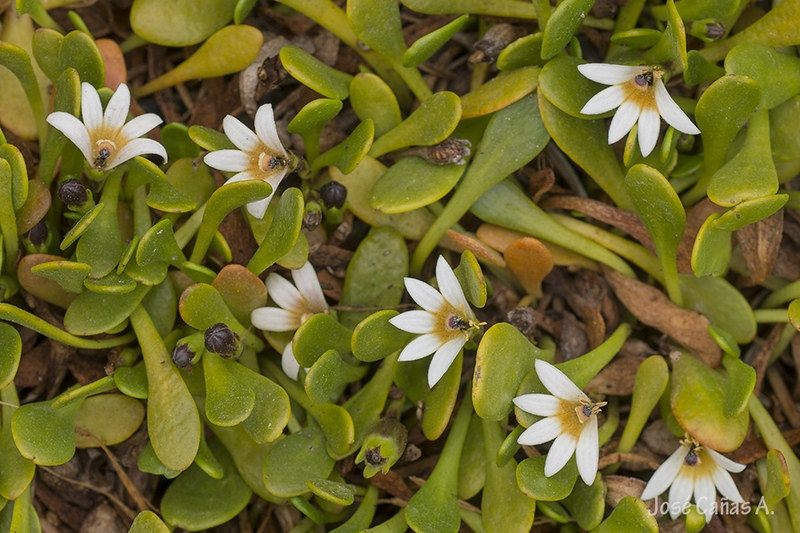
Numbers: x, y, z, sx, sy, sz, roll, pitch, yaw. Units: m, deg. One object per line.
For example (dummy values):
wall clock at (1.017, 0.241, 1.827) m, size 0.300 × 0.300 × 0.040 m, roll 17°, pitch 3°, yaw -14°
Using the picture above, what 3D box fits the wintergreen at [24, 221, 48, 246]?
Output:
wintergreen at (-0.928, -0.083, 2.039) m, size 0.043 × 0.021 × 0.062 m, roll 27°, pitch 83°, yaw -31°

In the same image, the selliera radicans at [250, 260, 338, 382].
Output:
selliera radicans at (-0.287, 0.114, 2.042) m, size 0.186 × 0.196 × 0.256 m, roll 32°, pitch 81°, yaw 5°

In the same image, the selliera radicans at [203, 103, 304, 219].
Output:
selliera radicans at (-0.332, -0.283, 2.020) m, size 0.313 × 0.220 × 0.167 m, roll 8°, pitch 68°, yaw -24°

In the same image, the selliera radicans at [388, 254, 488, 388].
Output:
selliera radicans at (0.069, 0.129, 1.914) m, size 0.215 × 0.079 × 0.229 m, roll -36°, pitch 84°, yaw -7°

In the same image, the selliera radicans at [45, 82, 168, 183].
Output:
selliera radicans at (-0.739, -0.312, 1.977) m, size 0.223 × 0.329 × 0.148 m, roll -9°, pitch 73°, yaw 20°

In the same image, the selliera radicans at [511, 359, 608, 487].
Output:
selliera radicans at (0.383, 0.387, 1.932) m, size 0.254 × 0.065 × 0.221 m, roll 29°, pitch 81°, yaw 3°

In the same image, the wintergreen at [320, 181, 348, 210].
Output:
wintergreen at (-0.174, -0.188, 2.083) m, size 0.051 × 0.039 × 0.077 m, roll 3°, pitch 90°, yaw -4°

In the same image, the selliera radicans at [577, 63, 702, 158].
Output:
selliera radicans at (0.581, -0.385, 2.055) m, size 0.305 × 0.255 × 0.225 m, roll 12°, pitch 80°, yaw 1°

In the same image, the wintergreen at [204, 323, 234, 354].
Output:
wintergreen at (-0.449, 0.177, 1.977) m, size 0.077 × 0.049 × 0.074 m, roll 14°, pitch 80°, yaw 1°
